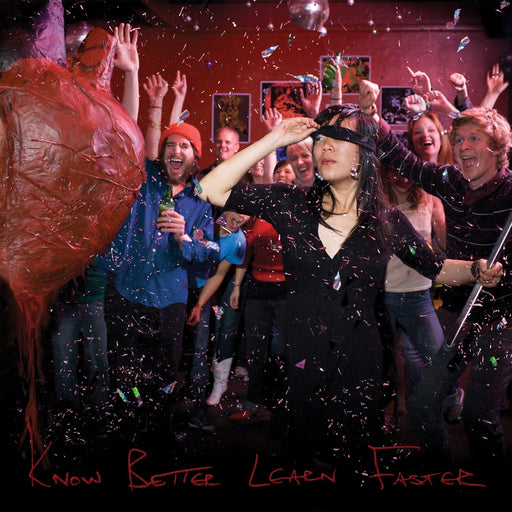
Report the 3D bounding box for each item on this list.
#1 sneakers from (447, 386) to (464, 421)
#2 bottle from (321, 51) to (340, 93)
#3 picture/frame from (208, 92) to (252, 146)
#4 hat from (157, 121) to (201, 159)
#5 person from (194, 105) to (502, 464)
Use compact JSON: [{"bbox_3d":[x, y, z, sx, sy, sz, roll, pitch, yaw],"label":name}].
[{"bbox_3d":[0.699,0.527,1.714,0.054,0.132,0.053,-9,17,-37],"label":"sneakers"},{"bbox_3d":[0.282,-0.719,1.865,0.059,0.139,0.151,0,6,3],"label":"bottle"},{"bbox_3d":[-0.104,-0.555,1.907,0.196,0.196,0.012,-11,22,-34],"label":"picture/frame"},{"bbox_3d":[-0.281,-0.443,1.766,0.145,0.102,0.132,2,-31,6],"label":"hat"},{"bbox_3d":[0.212,0.128,1.279,0.788,1.023,0.180,5,14,-8],"label":"person"}]
